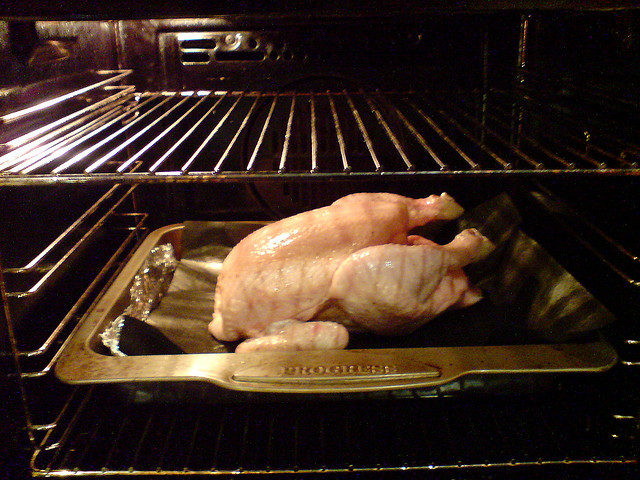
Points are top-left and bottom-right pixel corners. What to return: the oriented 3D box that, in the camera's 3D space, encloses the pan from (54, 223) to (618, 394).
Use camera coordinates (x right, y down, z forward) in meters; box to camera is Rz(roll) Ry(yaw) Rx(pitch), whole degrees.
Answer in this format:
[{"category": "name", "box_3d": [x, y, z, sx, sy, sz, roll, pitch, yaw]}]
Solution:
[{"category": "pan", "box_3d": [0.035, 0.273, 1.451, 1.421, 0.070, 0.338, 0, 25, 4]}]
